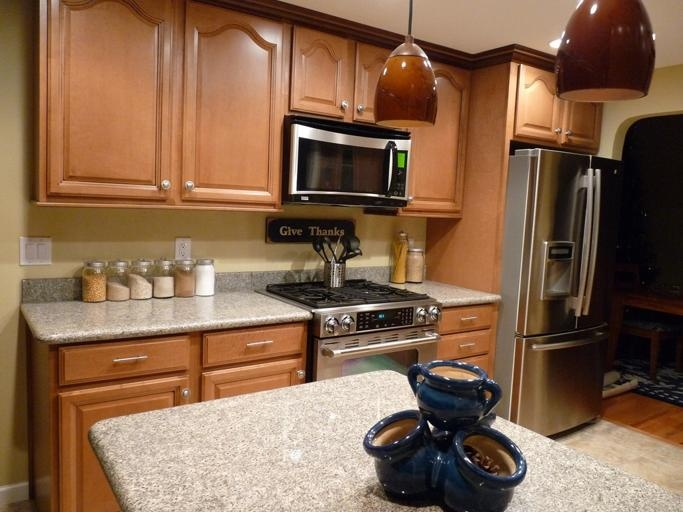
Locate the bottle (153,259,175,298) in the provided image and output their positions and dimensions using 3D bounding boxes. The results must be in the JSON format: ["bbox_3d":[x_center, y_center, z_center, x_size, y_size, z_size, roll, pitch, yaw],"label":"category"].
[{"bbox_3d":[-0.962,0.121,2.847,0.107,0.207,0.081,-1,11,-20],"label":"bottle"}]

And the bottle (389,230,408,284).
[{"bbox_3d":[0.421,0.015,3.715,0.128,0.351,0.153,3,10,1],"label":"bottle"}]

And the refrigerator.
[{"bbox_3d":[1.430,0.250,3.471,0.878,1.837,0.375,-2,11,-24],"label":"refrigerator"}]

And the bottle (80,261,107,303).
[{"bbox_3d":[-1.260,0.124,2.669,0.129,0.213,0.125,2,10,0],"label":"bottle"}]

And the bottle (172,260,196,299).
[{"bbox_3d":[-0.865,0.124,2.885,0.110,0.204,0.077,1,10,-11],"label":"bottle"}]

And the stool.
[{"bbox_3d":[2.722,0.773,4.751,0.420,0.450,0.527,-4,7,-21],"label":"stool"}]

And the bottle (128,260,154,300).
[{"bbox_3d":[-1.056,0.121,2.794,0.139,0.208,0.117,-4,12,-34],"label":"bottle"}]

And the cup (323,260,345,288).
[{"bbox_3d":[-0.039,0.115,3.247,0.148,0.164,0.144,4,3,0],"label":"cup"}]

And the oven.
[{"bbox_3d":[0.155,0.510,2.864,0.510,0.334,0.279,-2,5,-31],"label":"oven"}]

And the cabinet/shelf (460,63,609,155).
[{"bbox_3d":[1.084,-0.875,3.138,0.853,0.426,0.324,-5,7,-36],"label":"cabinet/shelf"}]

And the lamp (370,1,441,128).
[{"bbox_3d":[0.204,-0.598,1.662,0.187,0.372,0.184,0,10,-15],"label":"lamp"}]

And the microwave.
[{"bbox_3d":[0.045,-0.548,3.095,0.812,0.501,0.175,-3,12,-30],"label":"microwave"}]

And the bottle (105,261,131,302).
[{"bbox_3d":[-1.161,0.124,2.729,0.113,0.204,0.148,-2,11,-23],"label":"bottle"}]

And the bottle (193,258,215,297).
[{"bbox_3d":[-0.763,0.123,2.937,0.111,0.206,0.058,-2,11,-25],"label":"bottle"}]
